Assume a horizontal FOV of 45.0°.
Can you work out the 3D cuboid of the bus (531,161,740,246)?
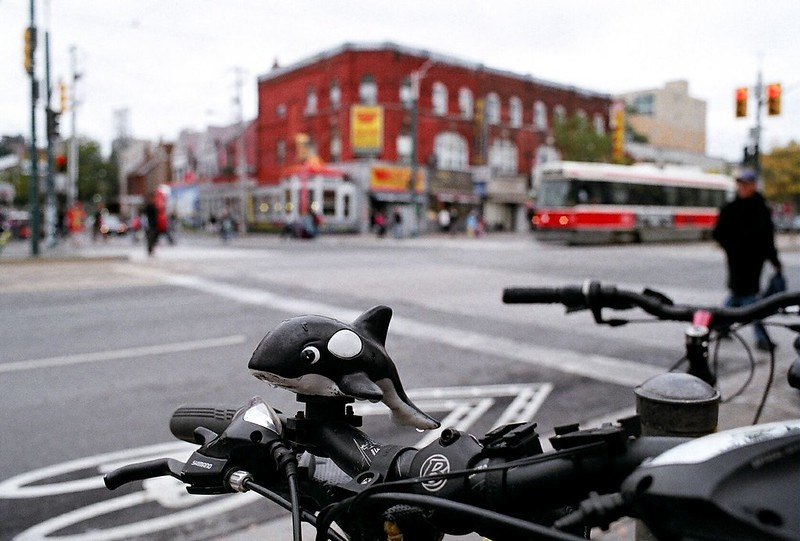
[{"bbox_3d":[5.552,-1.409,21.850,6.327,1.854,1.473,0,1,-38],"label":"bus"}]

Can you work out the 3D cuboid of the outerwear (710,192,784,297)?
[{"bbox_3d":[3.832,-0.080,10.582,0.635,1.942,0.576,1,0,19],"label":"outerwear"}]
